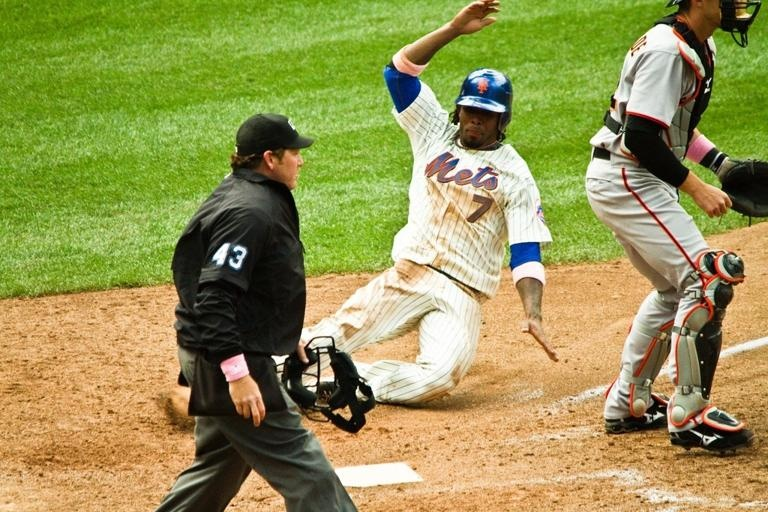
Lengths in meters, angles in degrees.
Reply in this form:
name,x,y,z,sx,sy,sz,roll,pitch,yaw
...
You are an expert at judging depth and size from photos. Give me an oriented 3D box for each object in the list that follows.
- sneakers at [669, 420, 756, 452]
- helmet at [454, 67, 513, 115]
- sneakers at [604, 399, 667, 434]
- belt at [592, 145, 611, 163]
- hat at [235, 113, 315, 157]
name,x,y,z,sx,sy,sz,roll,pitch,yaw
sneakers,2.348,1.304,7.619,0.468,0.220,0.237,-3,4,14
helmet,0.804,-1.321,8.684,0.453,0.345,0.415,-4,21,8
sneakers,1.916,1.197,8.143,0.518,0.227,0.193,-8,10,-18
belt,1.622,-0.753,7.930,0.113,0.085,0.109,5,5,-12
hat,-0.759,-0.809,7.326,0.457,0.224,0.291,-12,13,-5
